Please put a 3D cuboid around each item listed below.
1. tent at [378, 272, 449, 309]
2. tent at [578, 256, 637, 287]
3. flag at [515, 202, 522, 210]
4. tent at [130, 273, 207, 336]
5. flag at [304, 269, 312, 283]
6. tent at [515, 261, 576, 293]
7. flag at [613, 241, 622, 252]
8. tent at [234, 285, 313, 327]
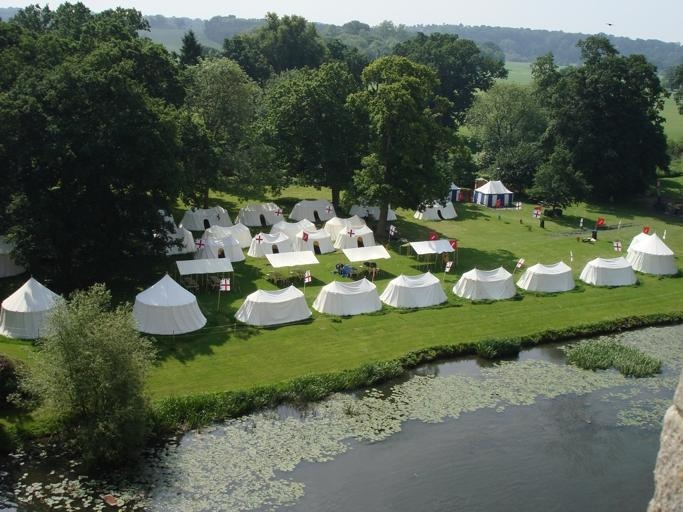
[{"bbox_3d":[6.239,3.051,68.648,5.184,2.639,1.813,-6,12,-8],"label":"tent"},{"bbox_3d":[25.407,1.585,75.504,3.458,2.688,4.841,-1,9,-4],"label":"tent"},{"bbox_3d":[22.575,-6.366,101.680,0.239,0.986,1.017,3,3,35],"label":"flag"},{"bbox_3d":[-13.768,4.106,62.674,4.954,4.014,2.164,-6,12,-10],"label":"tent"},{"bbox_3d":[-3.012,1.839,70.262,1.088,1.262,0.122,4,27,9],"label":"flag"},{"bbox_3d":[18.778,2.042,72.871,4.257,2.164,2.697,-3,18,-4],"label":"tent"},{"bbox_3d":[28.018,-0.949,80.891,0.160,1.013,0.962,-11,15,-21],"label":"flag"},{"bbox_3d":[-5.768,4.023,65.556,5.221,2.314,2.970,-4,15,-23],"label":"tent"}]
